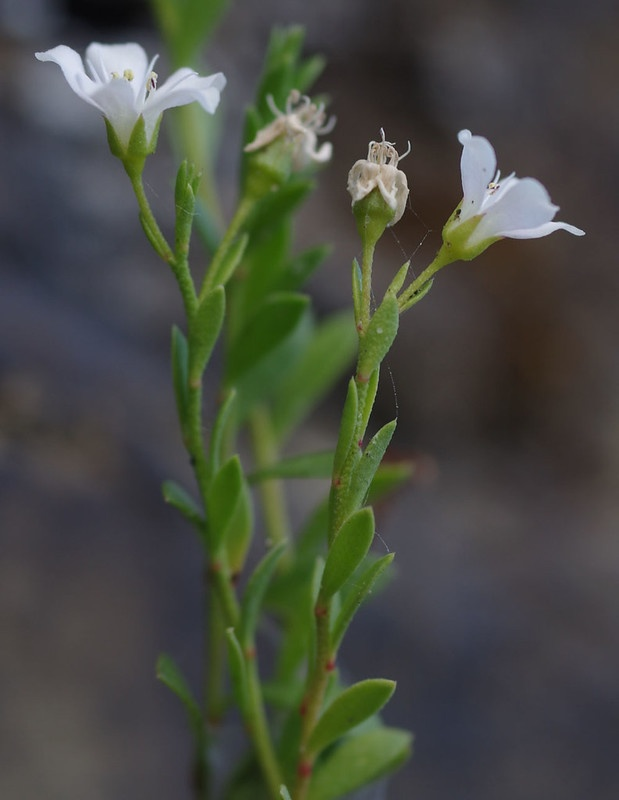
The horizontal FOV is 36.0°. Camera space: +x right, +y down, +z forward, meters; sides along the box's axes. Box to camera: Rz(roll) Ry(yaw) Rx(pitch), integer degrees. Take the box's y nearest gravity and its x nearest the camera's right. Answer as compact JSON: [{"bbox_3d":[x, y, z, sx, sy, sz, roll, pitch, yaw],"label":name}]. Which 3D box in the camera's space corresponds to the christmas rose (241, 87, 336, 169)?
[{"bbox_3d":[-0.007,-0.144,0.493,0.041,0.023,0.039,6,30,9],"label":"christmas rose"}]

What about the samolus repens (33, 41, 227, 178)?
[{"bbox_3d":[-0.088,-0.146,0.460,0.074,0.045,0.077,8,21,-5],"label":"samolus repens"}]

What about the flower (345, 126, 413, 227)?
[{"bbox_3d":[0.033,-0.100,0.436,0.027,0.046,0.027,3,-2,-35],"label":"flower"}]

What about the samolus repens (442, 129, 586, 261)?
[{"bbox_3d":[0.102,-0.094,0.468,0.064,0.055,0.110,22,20,10],"label":"samolus repens"}]
